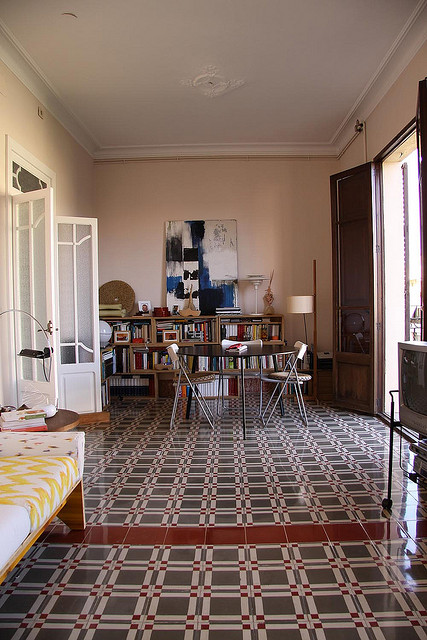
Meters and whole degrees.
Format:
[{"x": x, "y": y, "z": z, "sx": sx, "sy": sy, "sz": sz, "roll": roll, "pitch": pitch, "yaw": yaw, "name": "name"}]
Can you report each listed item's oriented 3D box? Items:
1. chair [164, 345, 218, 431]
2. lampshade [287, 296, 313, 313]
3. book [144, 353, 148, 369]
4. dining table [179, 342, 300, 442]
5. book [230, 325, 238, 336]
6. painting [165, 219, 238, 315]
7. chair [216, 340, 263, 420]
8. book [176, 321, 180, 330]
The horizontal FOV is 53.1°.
[{"x": -0.264, "y": 0.793, "z": 5.043, "sx": 0.453, "sy": 0.858, "sz": 0.469, "roll": 6, "pitch": 2, "yaw": 28, "name": "chair"}, {"x": 1.113, "y": -0.199, "z": 5.486, "sx": 0.333, "sy": 0.201, "sz": 0.229, "roll": -3, "pitch": 3, "yaw": 5, "name": "lampshade"}, {"x": -0.954, "y": 0.568, "z": 5.964, "sx": 0.060, "sy": 0.213, "sz": 0.205, "roll": 0, "pitch": 0, "yaw": -3, "name": "book"}, {"x": 0.336, "y": 0.716, "z": 4.893, "sx": 1.270, "sy": 0.896, "sz": 1.799, "roll": -2, "pitch": 4, "yaw": 11, "name": "dining table"}, {"x": 0.279, "y": 0.155, "z": 6.001, "sx": 0.102, "sy": 0.226, "sz": 0.152, "roll": 1, "pitch": -2, "yaw": 2, "name": "book"}, {"x": -0.174, "y": -0.780, "z": 6.294, "sx": 1.054, "sy": 1.389, "sz": 0.198, "roll": -2, "pitch": 3, "yaw": 3, "name": "painting"}, {"x": 0.333, "y": 0.752, "z": 5.811, "sx": 0.542, "sy": 1.143, "sz": 0.664, "roll": 9, "pitch": -24, "yaw": -30, "name": "chair"}, {"x": -0.507, "y": 0.088, "z": 6.019, "sx": 0.053, "sy": 0.092, "sz": 0.060, "roll": 0, "pitch": 1, "yaw": -3, "name": "book"}]
